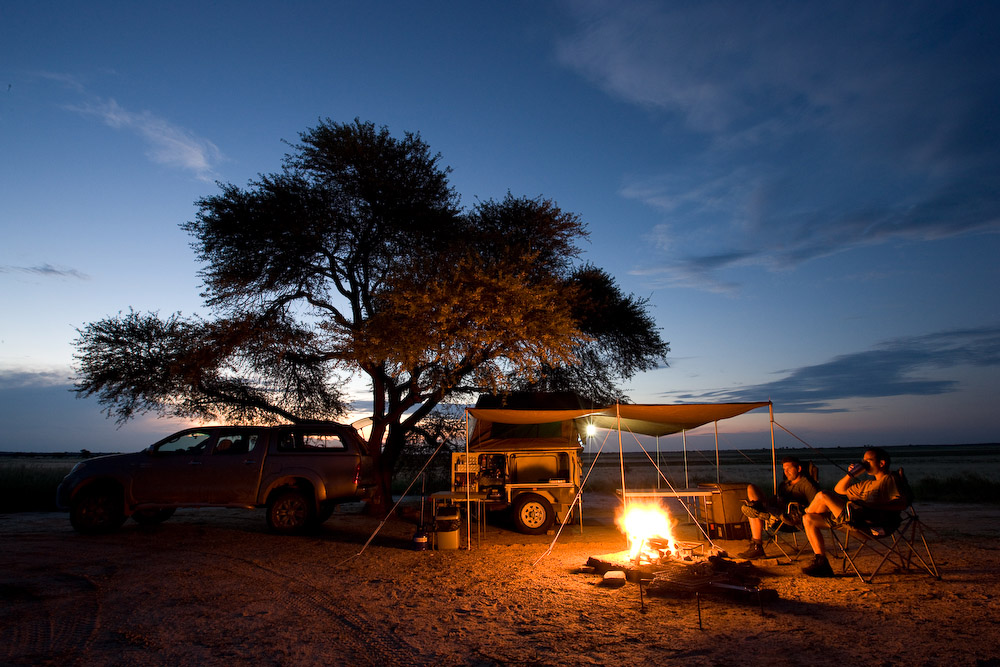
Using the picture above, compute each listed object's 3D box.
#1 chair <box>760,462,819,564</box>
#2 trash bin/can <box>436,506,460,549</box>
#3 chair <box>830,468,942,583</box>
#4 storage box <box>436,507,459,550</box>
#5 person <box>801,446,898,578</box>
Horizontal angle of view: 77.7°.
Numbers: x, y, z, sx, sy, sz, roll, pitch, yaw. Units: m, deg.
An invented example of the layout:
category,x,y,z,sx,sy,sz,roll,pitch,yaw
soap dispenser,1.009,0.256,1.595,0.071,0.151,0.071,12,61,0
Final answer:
category,x,y,z,sx,sy,sz,roll,pitch,yaw
chair,5.236,3.323,11.758,1.181,1.494,0.913,-2,7,-15
trash bin/can,-1.275,4.321,13.903,0.658,0.875,0.957,5,-13,-24
chair,6.564,3.397,11.110,1.634,1.789,1.601,-12,-15,24
storage box,-1.145,4.232,13.524,0.557,0.905,0.345,0,-16,-6
person,5.926,3.001,10.420,1.574,2.073,0.537,-10,-18,28
